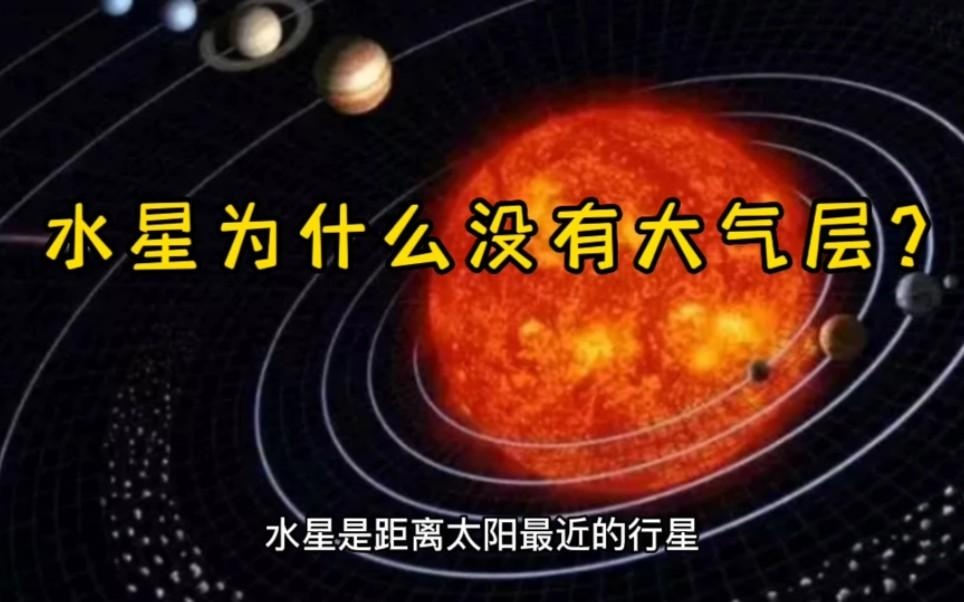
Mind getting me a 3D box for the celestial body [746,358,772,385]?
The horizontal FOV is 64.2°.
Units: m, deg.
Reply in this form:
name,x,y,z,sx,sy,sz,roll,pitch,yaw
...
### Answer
name,x,y,z,sx,sy,sz,roll,pitch,yaw
celestial body,4.857,1.211,13.438,0.398,0.400,0.460,14,72,36
